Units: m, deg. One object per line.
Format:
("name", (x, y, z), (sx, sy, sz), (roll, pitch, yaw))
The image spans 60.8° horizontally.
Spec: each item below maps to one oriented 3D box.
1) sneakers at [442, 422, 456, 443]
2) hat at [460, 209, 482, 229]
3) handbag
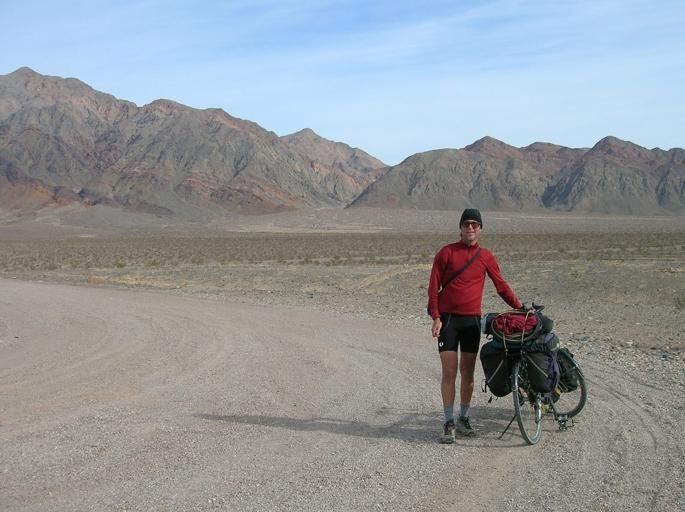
("sneakers", (1.405, 2.280, 7.661), (0.185, 0.266, 0.344), (0, 3, 12))
("hat", (1.723, -0.536, 7.735), (0.234, 0.242, 0.321), (1, -25, 10))
("handbag", (2.613, 1.269, 8.027), (0.929, 1.019, 1.499), (-2, -4, 27))
